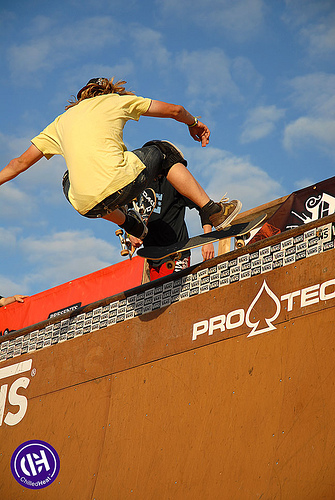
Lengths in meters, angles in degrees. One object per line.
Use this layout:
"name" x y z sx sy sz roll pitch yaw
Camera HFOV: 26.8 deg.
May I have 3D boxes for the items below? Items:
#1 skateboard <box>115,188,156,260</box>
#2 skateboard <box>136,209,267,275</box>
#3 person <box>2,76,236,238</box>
"skateboard" -0.267 -0.239 6.295 0.125 0.747 0.223 32 -20 -32
"skateboard" 0.295 -0.070 6.448 1.611 0.257 0.385 -14 32 27
"person" -0.350 -0.717 5.771 1.411 0.840 0.718 -22 -17 19
